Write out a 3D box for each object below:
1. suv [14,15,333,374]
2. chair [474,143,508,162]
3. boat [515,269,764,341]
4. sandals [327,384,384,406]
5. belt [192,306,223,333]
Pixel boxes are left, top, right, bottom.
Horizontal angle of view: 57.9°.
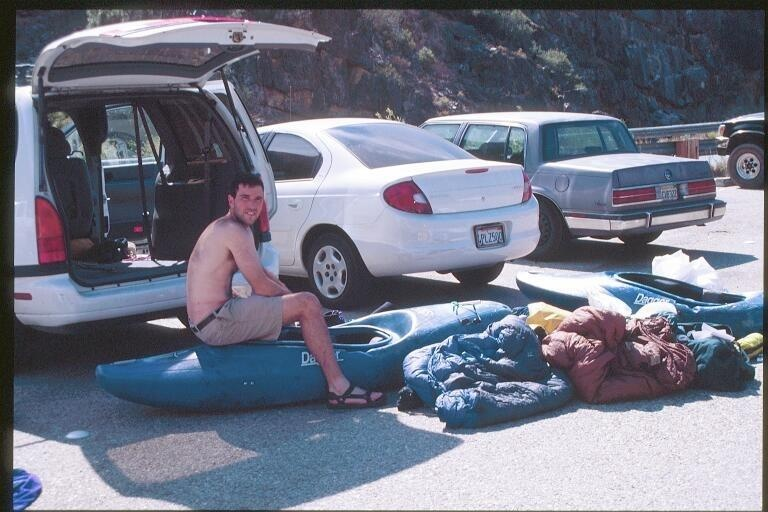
[{"bbox_3d":[-2.886,-0.801,7.233,2.918,2.991,4.945,-13,20,-38],"label":"suv"},{"bbox_3d":[1.545,-1.504,9.974,0.213,0.170,0.358,-2,12,-20],"label":"chair"},{"bbox_3d":[2.207,0.379,6.607,2.415,0.476,0.779,4,6,24],"label":"boat"},{"bbox_3d":[-0.213,1.080,5.363,0.336,0.120,0.179,-2,2,-7],"label":"sandals"},{"bbox_3d":[-1.368,0.493,5.364,0.204,0.053,0.185,-37,8,23],"label":"belt"}]
